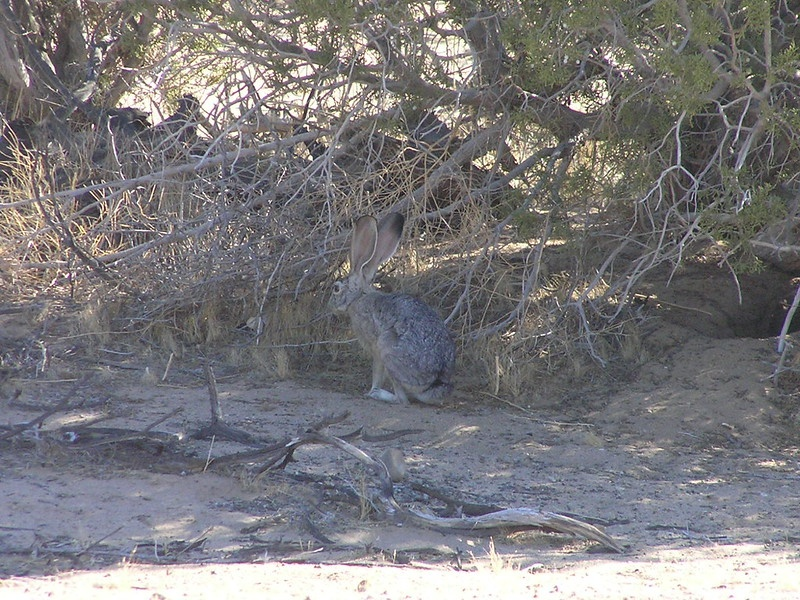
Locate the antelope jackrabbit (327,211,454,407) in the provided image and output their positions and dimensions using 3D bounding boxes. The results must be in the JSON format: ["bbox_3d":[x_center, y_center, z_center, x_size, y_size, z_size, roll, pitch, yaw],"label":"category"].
[{"bbox_3d":[-0.087,0.053,9.152,0.633,1.642,1.033,-5,5,-42],"label":"antelope jackrabbit"}]
